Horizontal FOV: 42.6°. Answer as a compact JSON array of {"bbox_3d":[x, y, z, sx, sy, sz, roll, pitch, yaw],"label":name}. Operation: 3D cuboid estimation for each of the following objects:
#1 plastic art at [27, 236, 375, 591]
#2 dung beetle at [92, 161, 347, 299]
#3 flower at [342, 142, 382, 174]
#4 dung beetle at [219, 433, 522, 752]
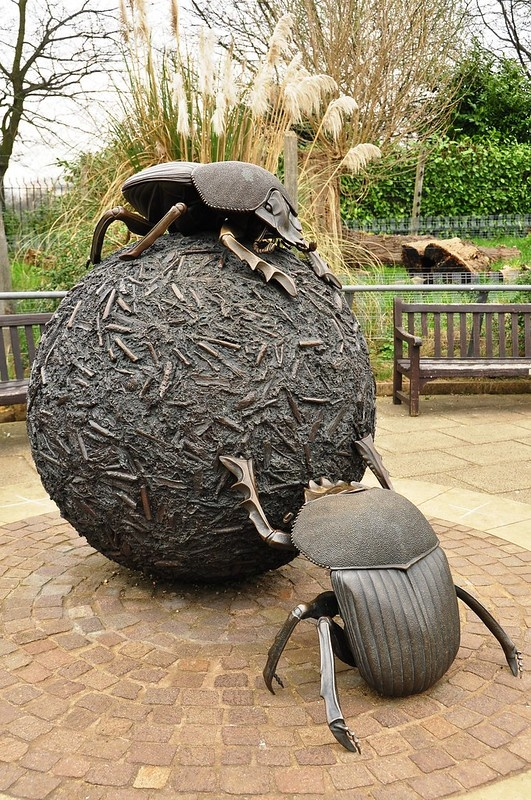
[{"bbox_3d":[-0.277,-0.017,2.995,1.448,1.304,1.324,3,-3,5],"label":"plastic art"},{"bbox_3d":[-0.246,-0.753,2.708,0.853,0.373,0.660,10,10,20],"label":"dung beetle"},{"bbox_3d":[1.059,-2.702,7.578,0.357,0.296,0.574,2,9,13],"label":"flower"},{"bbox_3d":[0.271,0.567,2.144,0.608,0.287,0.865,0,35,-26],"label":"dung beetle"}]
